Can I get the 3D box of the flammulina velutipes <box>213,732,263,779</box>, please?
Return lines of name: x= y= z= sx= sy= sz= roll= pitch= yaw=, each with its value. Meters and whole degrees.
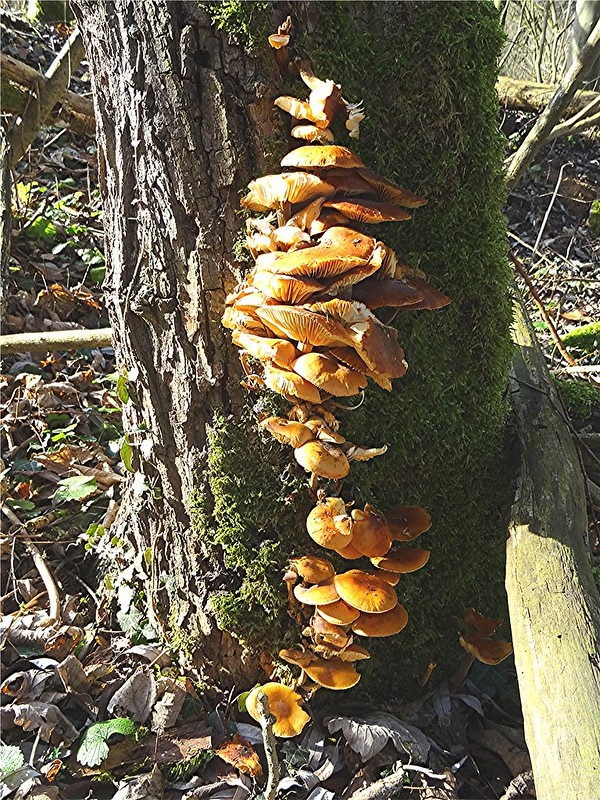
flammulina velutipes: x=-0.292 y=1.771 z=3.805 sx=0.159 sy=0.114 sz=0.262 roll=-31 pitch=50 yaw=-30

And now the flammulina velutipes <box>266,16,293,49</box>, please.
flammulina velutipes: x=-0.082 y=-1.530 z=3.195 sx=0.085 sy=0.049 sz=0.135 roll=24 pitch=87 yaw=17
